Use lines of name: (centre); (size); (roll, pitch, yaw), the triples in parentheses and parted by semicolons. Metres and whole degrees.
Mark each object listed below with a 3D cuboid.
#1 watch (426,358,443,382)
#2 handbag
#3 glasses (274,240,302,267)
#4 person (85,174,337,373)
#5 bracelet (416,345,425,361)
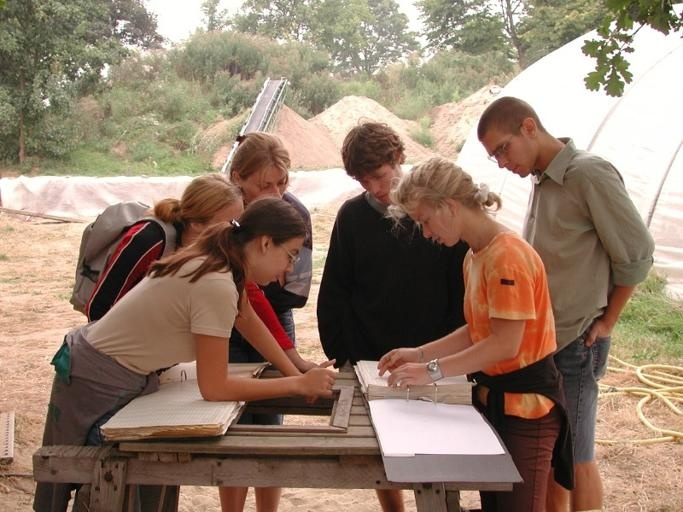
watch: (0.428, 0.527, 2.950); (0.065, 0.095, 0.096); (-11, 14, -8)
handbag: (-1.465, -0.006, 3.964); (0.461, 0.554, 0.497); (14, 4, 12)
glasses: (-0.255, -0.017, 3.005); (0.125, 0.040, 0.122); (20, 19, 37)
person: (-0.861, 0.105, 3.645); (1.905, 0.989, 0.976); (11, 21, 36)
bracelet: (0.398, 0.495, 3.147); (0.059, 0.055, 0.044); (5, -3, -32)
